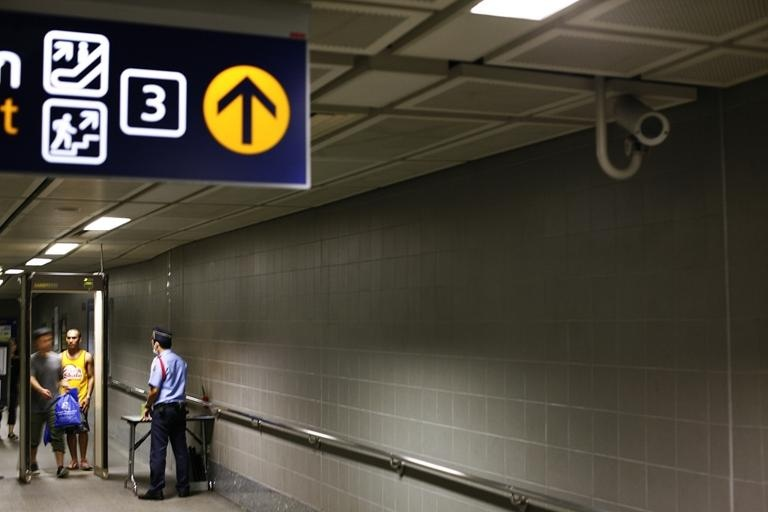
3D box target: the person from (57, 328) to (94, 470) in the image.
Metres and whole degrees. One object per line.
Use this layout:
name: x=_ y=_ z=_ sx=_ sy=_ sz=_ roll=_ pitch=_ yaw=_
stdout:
person: x=-5.000 y=2.303 z=9.380 sx=0.597 sy=2.230 sz=0.590 roll=-1 pitch=-3 yaw=-20

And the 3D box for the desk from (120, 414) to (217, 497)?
desk: x=-3.420 y=3.084 z=9.261 sx=1.279 sy=0.998 sz=0.769 roll=6 pitch=-9 yaw=-33

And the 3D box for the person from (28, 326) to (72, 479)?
person: x=-5.471 y=2.413 z=9.412 sx=0.568 sy=2.537 sz=0.720 roll=4 pitch=0 yaw=-31
